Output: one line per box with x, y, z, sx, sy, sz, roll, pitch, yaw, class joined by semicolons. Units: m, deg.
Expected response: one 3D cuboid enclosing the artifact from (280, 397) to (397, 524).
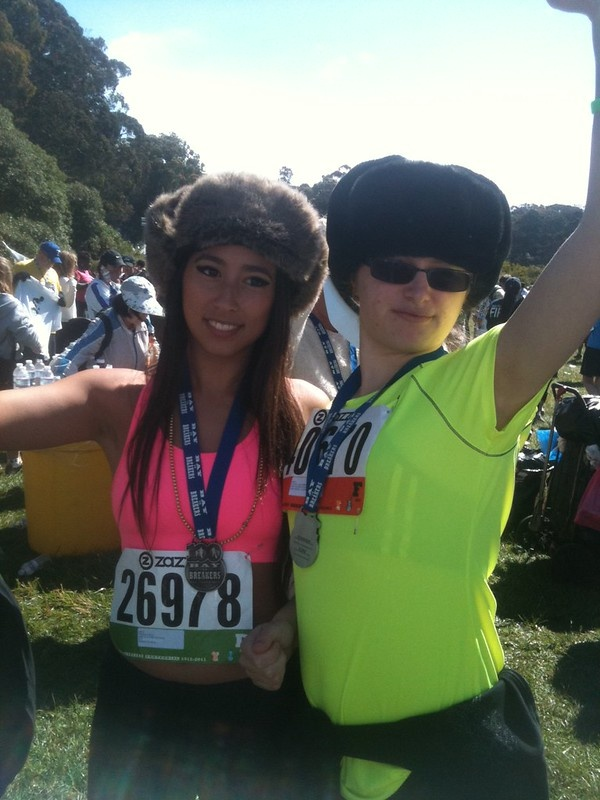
0.070;0.141;1.572;0.063;0.258;0.380;20;-13;-24;artifact

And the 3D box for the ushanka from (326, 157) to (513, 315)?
0.250;-0.382;1.648;0.338;0.215;0.383;15;-2;-5;ushanka

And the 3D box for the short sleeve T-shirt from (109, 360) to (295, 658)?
-0.259;0.336;1.904;0.540;0.674;0.435;-4;-2;-8;short sleeve T-shirt

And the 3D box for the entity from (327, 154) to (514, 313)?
0.256;-0.366;1.653;0.338;0.215;0.383;15;-1;-5;entity
